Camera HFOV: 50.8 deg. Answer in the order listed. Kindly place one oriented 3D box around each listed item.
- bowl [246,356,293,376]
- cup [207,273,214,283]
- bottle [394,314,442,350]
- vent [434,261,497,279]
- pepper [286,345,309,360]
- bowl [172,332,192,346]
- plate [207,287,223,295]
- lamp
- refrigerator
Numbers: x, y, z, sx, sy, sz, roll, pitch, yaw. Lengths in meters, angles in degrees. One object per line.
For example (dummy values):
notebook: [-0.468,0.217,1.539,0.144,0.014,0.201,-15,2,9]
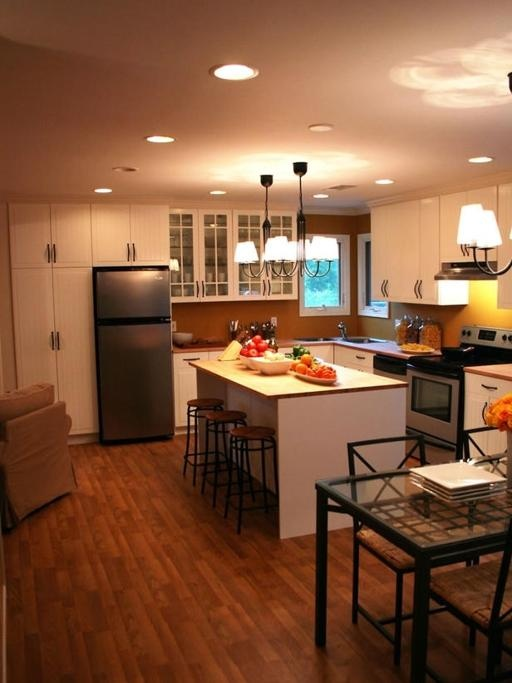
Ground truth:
bowl: [0.061,0.183,4.026,0.419,0.128,0.260,2,5,44]
cup: [-0.501,-0.700,5.905,0.088,0.097,0.089,1,8,0]
bottle: [1.695,-0.083,5.592,0.146,0.247,0.369,-4,6,-30]
vent: [1.820,-0.622,4.740,0.222,0.184,0.599,-3,4,-26]
pepper: [0.350,0.093,4.156,0.126,0.087,0.183,-1,-2,-6]
bowl: [-0.791,-0.018,5.860,0.162,0.100,0.159,0,-1,0]
plate: [-0.438,-0.544,5.945,0.170,0.106,0.083,0,0,-28]
lamp: [0.224,-1.122,4.951,0.966,0.972,1.077,-4,7,-22]
refrigerator: [-1.364,-0.207,5.849,0.939,1.701,0.984,6,40,-8]
